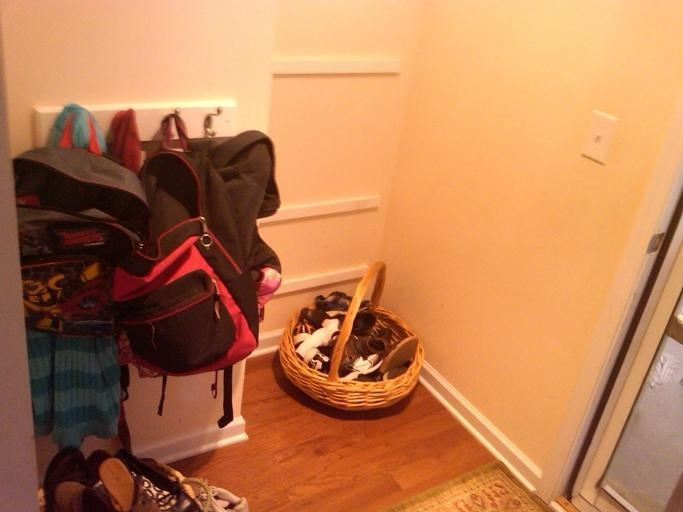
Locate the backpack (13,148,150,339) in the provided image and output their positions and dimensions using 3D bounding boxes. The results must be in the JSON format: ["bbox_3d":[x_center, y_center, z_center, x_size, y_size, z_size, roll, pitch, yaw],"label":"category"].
[{"bbox_3d":[-0.621,-0.077,1.516,0.436,0.503,0.390,2,28,-23],"label":"backpack"}]
